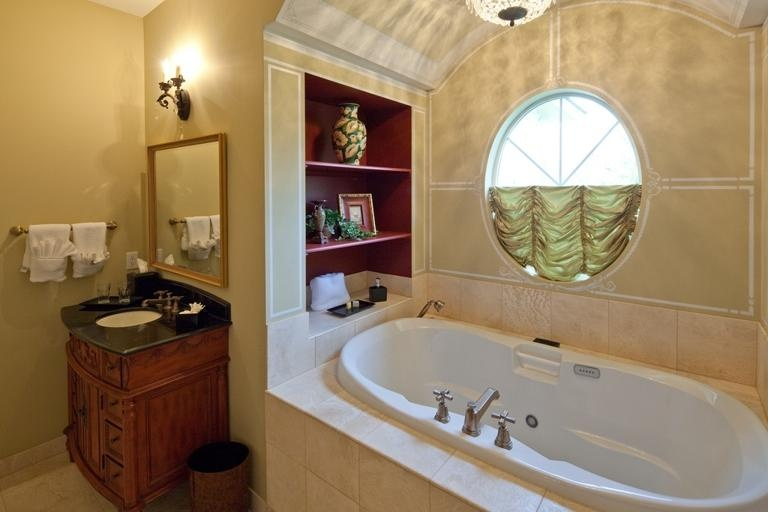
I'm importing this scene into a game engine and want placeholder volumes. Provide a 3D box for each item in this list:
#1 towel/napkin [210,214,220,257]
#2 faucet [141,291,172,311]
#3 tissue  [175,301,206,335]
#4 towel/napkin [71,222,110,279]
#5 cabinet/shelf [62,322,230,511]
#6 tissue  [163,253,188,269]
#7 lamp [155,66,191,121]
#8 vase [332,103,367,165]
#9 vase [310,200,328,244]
[{"bbox_3d":[-1.205,-0.143,3.671,0.022,0.295,0.126,-8,9,-42],"label":"towel/napkin"},{"bbox_3d":[-1.709,0.341,3.915,0.308,0.138,0.112,4,1,35],"label":"faucet"},{"bbox_3d":[-1.362,0.428,3.599,0.149,0.193,0.283,2,2,3],"label":"tissue "},{"bbox_3d":[-2.280,-0.043,3.977,0.255,0.423,0.147,-6,8,-32],"label":"towel/napkin"},{"bbox_3d":[-1.676,0.870,3.852,1.476,1.400,1.053,0,0,44],"label":"cabinet/shelf"},{"bbox_3d":[-1.632,0.035,4.004,0.143,0.051,0.116,4,6,32],"label":"tissue "},{"bbox_3d":[-1.600,-1.199,3.842,0.186,0.387,0.432,-7,9,-38],"label":"lamp"},{"bbox_3d":[-0.290,-0.975,4.129,0.279,0.497,0.300,0,7,16],"label":"vase"},{"bbox_3d":[-0.492,-0.265,3.992,0.105,0.324,0.248,-3,7,-6],"label":"vase"}]
